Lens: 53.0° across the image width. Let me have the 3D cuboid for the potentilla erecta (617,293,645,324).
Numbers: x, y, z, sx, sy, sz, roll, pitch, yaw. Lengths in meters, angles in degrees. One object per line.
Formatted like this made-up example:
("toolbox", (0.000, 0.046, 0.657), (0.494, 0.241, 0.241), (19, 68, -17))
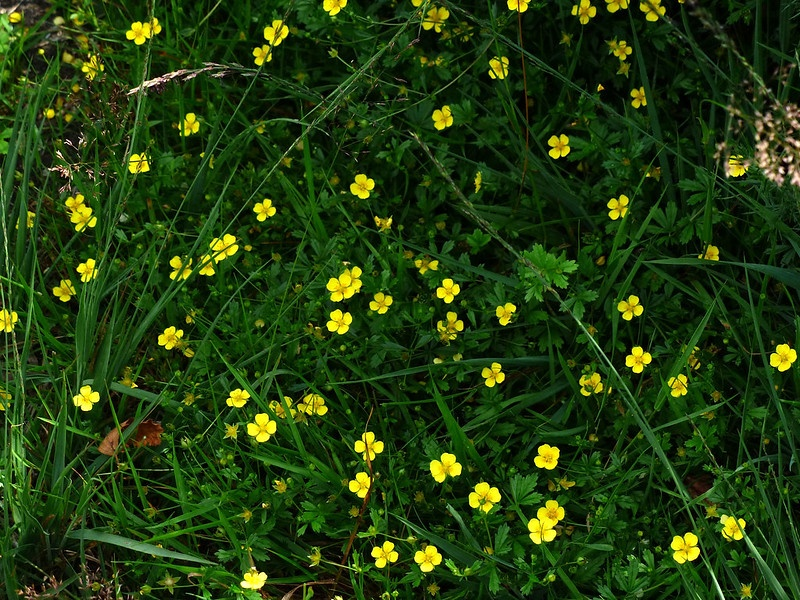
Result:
("potentilla erecta", (0.962, 0.031, 3.356), (0.096, 0.117, 0.046), (-10, -3, 7))

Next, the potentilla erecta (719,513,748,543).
("potentilla erecta", (1.238, 0.848, 3.000), (0.084, 0.110, 0.059), (24, 0, 4))

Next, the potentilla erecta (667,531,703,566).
("potentilla erecta", (1.078, 0.946, 3.036), (0.109, 0.094, 0.160), (-20, -30, 11))

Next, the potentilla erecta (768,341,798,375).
("potentilla erecta", (1.506, 0.226, 3.172), (0.103, 0.091, 0.079), (-9, -28, -9))

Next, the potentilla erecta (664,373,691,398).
("potentilla erecta", (1.097, 0.333, 3.201), (0.060, 0.082, 0.115), (-32, -34, 33))

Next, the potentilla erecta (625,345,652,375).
("potentilla erecta", (0.976, 0.238, 3.292), (0.109, 0.104, 0.031), (-45, -6, 3))

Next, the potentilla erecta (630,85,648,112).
("potentilla erecta", (1.058, -0.901, 3.568), (0.078, 0.089, 0.022), (-31, -5, -4))
